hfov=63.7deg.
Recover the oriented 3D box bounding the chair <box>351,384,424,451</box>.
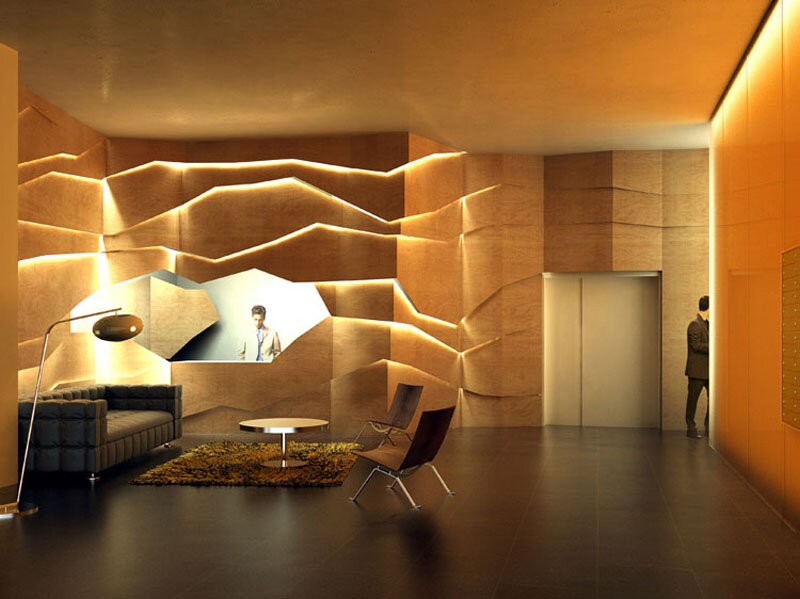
[{"bbox_3d":[-0.178,1.473,8.141,0.794,0.777,0.579,4,-1,-39],"label":"chair"}]

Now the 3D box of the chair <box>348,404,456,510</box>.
[{"bbox_3d":[0.039,1.537,6.434,0.922,0.900,0.807,-1,-3,41],"label":"chair"}]

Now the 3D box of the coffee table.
[{"bbox_3d":[-1.414,1.756,8.098,1.166,0.517,1.124,4,-11,-11],"label":"coffee table"}]

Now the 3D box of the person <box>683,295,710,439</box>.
[{"bbox_3d":[4.375,0.988,9.489,0.303,1.888,1.233,1,0,24],"label":"person"}]

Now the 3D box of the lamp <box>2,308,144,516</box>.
[{"bbox_3d":[-3.595,1.057,7.271,1.243,2.228,3.000,1,0,-22],"label":"lamp"}]
